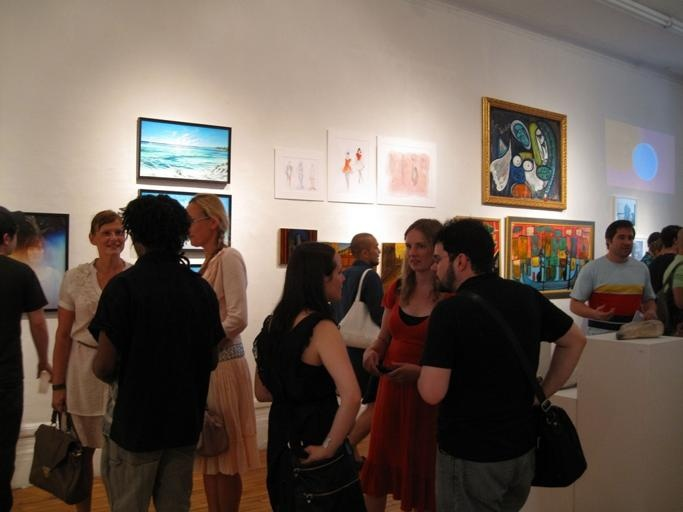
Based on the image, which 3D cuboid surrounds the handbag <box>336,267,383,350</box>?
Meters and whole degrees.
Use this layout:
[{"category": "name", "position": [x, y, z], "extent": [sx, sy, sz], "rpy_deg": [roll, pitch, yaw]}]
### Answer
[{"category": "handbag", "position": [0.272, 0.553, 5.687], "extent": [0.364, 1.071, 0.675], "rpy_deg": [2, -4, 15]}]

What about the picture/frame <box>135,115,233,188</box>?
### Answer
[{"category": "picture/frame", "position": [-1.817, -1.163, 6.108], "extent": [0.771, 0.592, 0.029], "rpy_deg": [1, -4, -27]}]

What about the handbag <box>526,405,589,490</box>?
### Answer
[{"category": "handbag", "position": [1.330, 1.182, 3.327], "extent": [0.292, 0.576, 0.203], "rpy_deg": [3, 3, 23]}]

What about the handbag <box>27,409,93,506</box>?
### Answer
[{"category": "handbag", "position": [-2.050, 1.584, 3.974], "extent": [0.386, 0.781, 0.639], "rpy_deg": [0, 4, -29]}]

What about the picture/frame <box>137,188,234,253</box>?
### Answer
[{"category": "picture/frame", "position": [-1.815, -0.358, 6.115], "extent": [0.913, 0.740, 0.035], "rpy_deg": [2, 14, -1]}]

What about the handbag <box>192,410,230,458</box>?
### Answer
[{"category": "handbag", "position": [-0.934, 1.286, 3.972], "extent": [0.219, 0.336, 0.077], "rpy_deg": [1, 3, -17]}]
